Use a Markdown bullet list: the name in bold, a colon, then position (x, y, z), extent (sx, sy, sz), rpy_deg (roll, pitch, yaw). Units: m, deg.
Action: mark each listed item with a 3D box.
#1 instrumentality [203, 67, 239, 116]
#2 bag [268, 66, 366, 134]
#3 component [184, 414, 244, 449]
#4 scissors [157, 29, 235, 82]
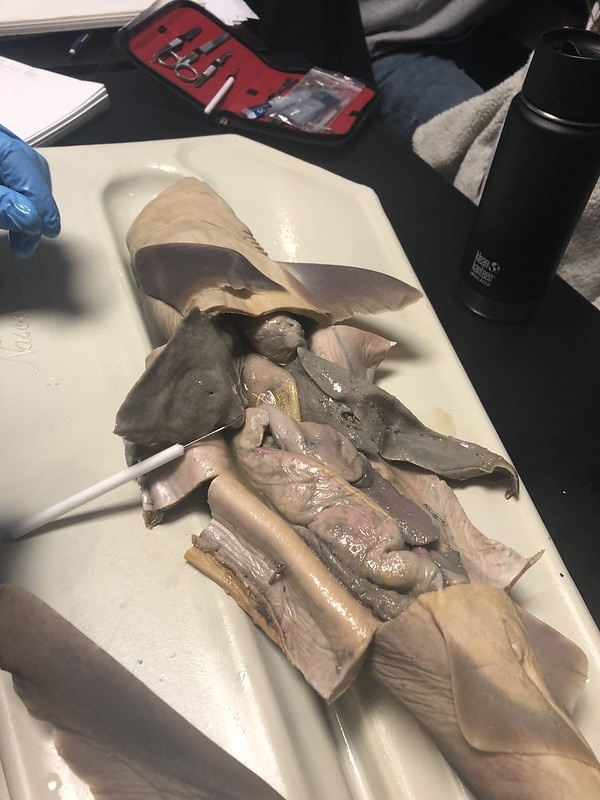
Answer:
- **instrumentality**: position (-0.153, -0.711, 1.765), extent (0.027, 0.031, 0.196), rpy_deg (46, 52, -11)
- **bag**: position (0.051, -0.682, 1.756), extent (0.179, 0.053, 0.227), rpy_deg (27, 48, 17)
- **component**: position (-0.116, 0.041, 1.020), extent (0.079, 0.015, 0.011), rpy_deg (-26, 39, 7)
- **scissors**: position (-0.257, -0.804, 1.790), extent (0.118, 0.023, 0.184), rpy_deg (33, 55, 16)
